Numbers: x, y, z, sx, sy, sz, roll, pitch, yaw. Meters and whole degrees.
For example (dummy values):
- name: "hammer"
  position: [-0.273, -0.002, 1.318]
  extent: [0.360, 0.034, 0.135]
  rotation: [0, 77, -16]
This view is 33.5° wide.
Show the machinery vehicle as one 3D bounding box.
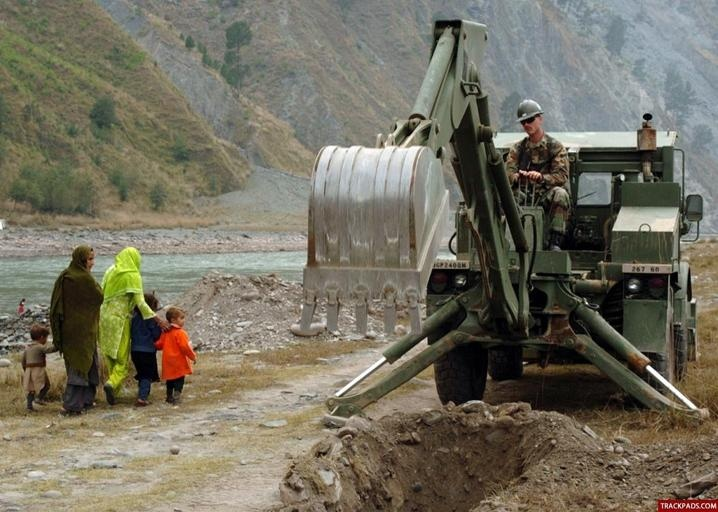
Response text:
- name: "machinery vehicle"
  position: [6.263, -1.560, 46.347]
  extent: [10.988, 10.392, 15.671]
  rotation: [1, 3, 16]

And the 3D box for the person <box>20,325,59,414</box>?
- name: "person"
  position: [-11.911, 4.094, 44.268]
  extent: [0.891, 3.198, 1.296]
  rotation: [0, 0, 17]
